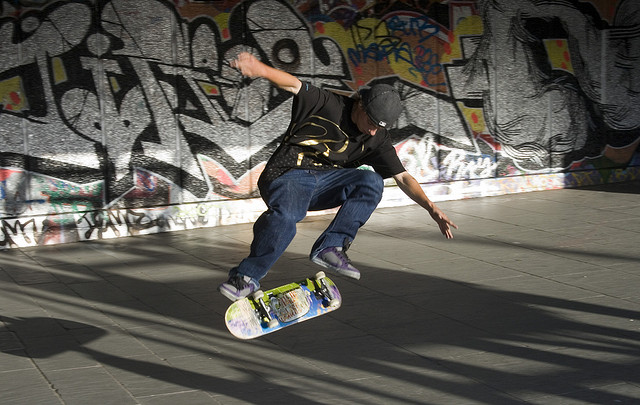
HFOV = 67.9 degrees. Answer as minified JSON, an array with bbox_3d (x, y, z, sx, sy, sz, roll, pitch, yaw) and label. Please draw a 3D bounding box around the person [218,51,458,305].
[{"bbox_3d":[0.040,-0.180,4.753,2.194,2.235,0.676,3,4,-19],"label":"person"}]
